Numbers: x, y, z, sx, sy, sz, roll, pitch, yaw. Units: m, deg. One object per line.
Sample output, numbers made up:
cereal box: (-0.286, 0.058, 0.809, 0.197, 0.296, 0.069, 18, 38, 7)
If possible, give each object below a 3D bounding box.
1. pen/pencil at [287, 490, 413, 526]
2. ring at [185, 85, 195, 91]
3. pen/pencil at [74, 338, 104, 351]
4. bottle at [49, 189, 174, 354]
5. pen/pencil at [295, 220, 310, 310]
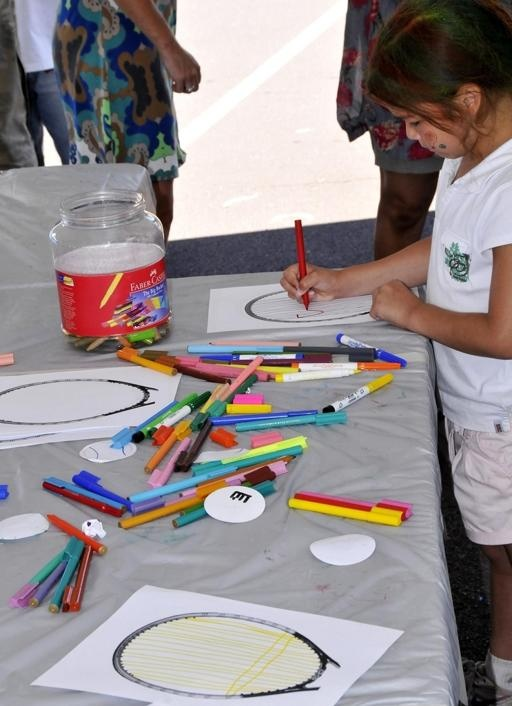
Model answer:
pen/pencil: (0.073, 0.121, 0.511, 0.101, 0.012, 0.029, 8, 24, 19)
ring: (-0.128, -0.519, 1.289, 0.011, 0.006, 0.013, -3, 1, -14)
pen/pencil: (-0.207, -0.012, 0.818, 0.026, 0.007, 0.023, 1, 13, 0)
bottle: (-0.182, -0.105, 0.819, 0.124, 0.144, 0.145, 24, 36, 36)
pen/pencil: (0.072, -0.117, 0.965, 0.020, 0.165, 0.017, -4, 37, 9)
